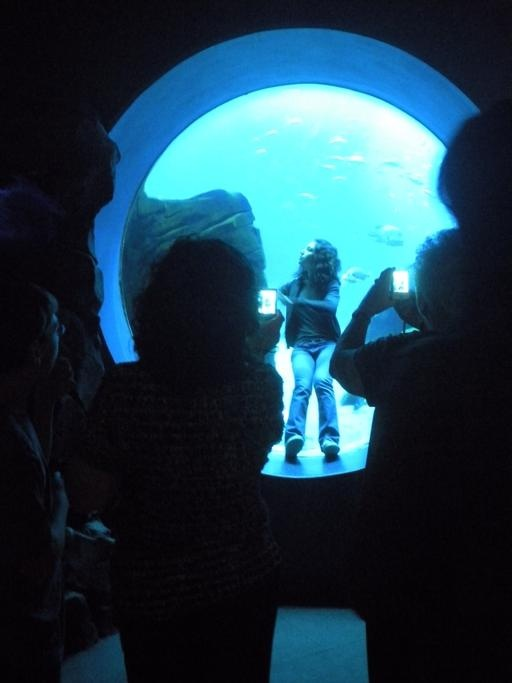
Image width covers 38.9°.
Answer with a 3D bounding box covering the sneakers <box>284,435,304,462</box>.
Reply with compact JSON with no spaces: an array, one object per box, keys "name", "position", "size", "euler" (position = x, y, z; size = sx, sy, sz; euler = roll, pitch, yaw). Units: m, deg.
[{"name":"sneakers","position":[0.195,0.543,3.685],"size":[0.048,0.173,0.061],"euler":[9,15,-8]}]
